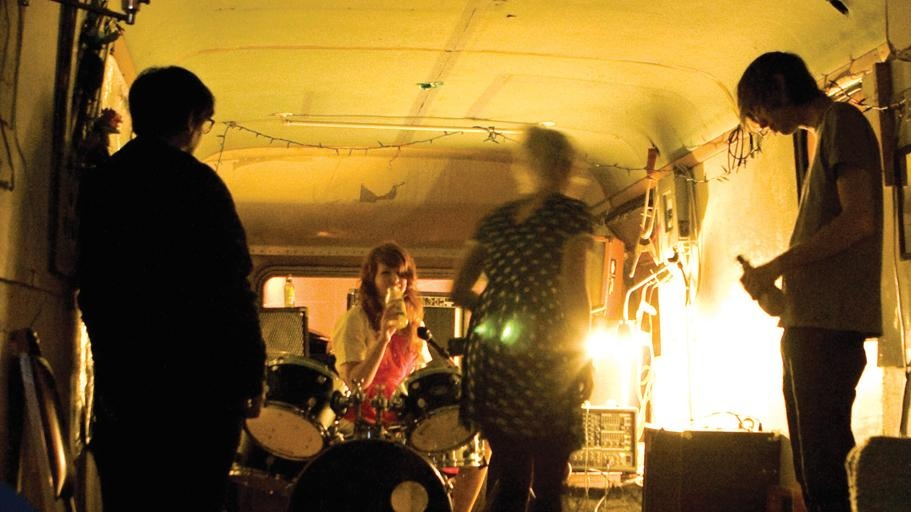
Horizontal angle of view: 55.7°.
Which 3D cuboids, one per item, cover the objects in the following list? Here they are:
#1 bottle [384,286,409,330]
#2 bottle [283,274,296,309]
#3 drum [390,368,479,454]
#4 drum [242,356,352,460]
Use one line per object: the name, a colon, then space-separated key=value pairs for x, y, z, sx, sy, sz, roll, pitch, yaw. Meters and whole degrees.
bottle: x=-0.406 y=0.339 z=5.918 sx=0.143 sy=0.297 sz=0.217 roll=5 pitch=-12 yaw=-3
bottle: x=-1.860 y=0.402 z=9.641 sx=0.118 sy=0.342 sz=0.388 roll=8 pitch=-12 yaw=-13
drum: x=-0.101 y=1.008 z=5.900 sx=0.631 sy=0.519 sz=0.556 roll=-9 pitch=-54 yaw=2
drum: x=-1.120 y=0.908 z=5.877 sx=0.611 sy=0.399 sz=0.537 roll=17 pitch=-16 yaw=1
